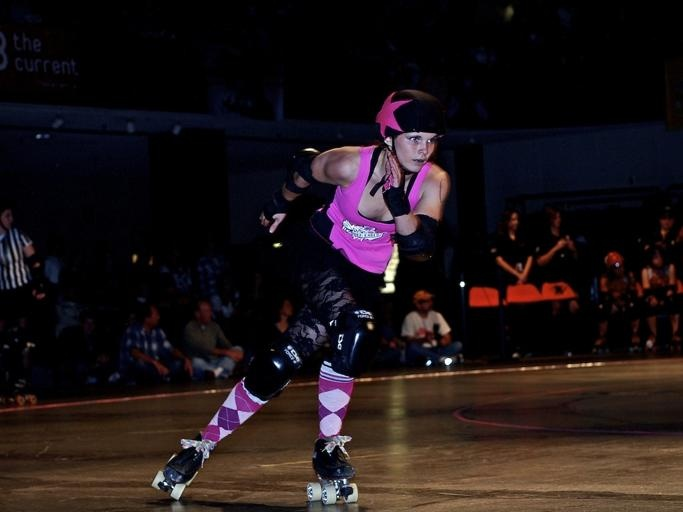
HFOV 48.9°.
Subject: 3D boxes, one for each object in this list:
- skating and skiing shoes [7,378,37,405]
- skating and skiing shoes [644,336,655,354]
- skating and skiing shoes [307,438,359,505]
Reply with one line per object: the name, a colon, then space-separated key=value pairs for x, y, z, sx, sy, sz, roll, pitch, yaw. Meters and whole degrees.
skating and skiing shoes: x=-3.409 y=1.451 z=8.049 sx=0.267 sy=0.204 sz=0.429 roll=3 pitch=-13 yaw=-14
skating and skiing shoes: x=4.524 y=1.291 z=10.981 sx=0.188 sy=0.252 sz=0.063 roll=2 pitch=-1 yaw=3
skating and skiing shoes: x=-0.040 y=0.953 z=3.403 sx=0.236 sy=0.264 sz=0.341 roll=1 pitch=-3 yaw=-2
